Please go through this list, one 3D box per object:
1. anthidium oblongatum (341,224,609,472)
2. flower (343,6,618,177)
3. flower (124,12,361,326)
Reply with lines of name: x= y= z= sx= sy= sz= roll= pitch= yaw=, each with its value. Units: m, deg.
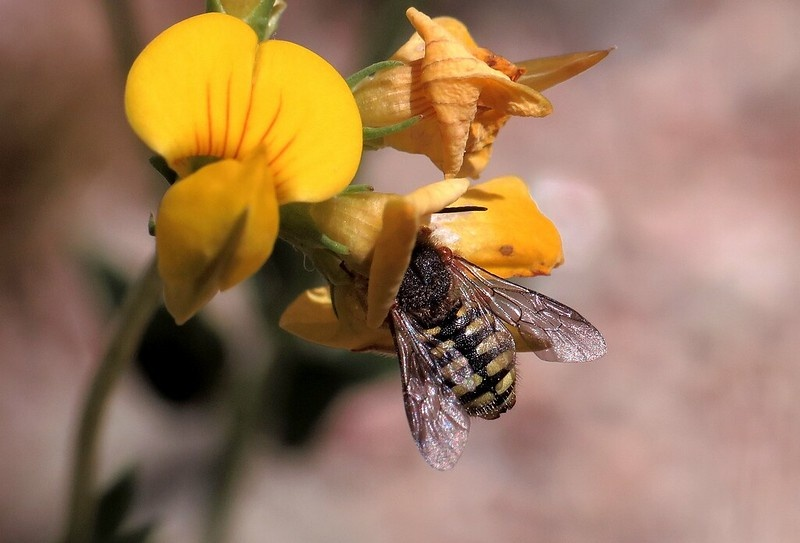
anthidium oblongatum: x=0.069 y=0.106 z=1.221 sx=0.357 sy=0.123 sz=0.293 roll=41 pitch=57 yaw=11
flower: x=0.090 y=-0.215 z=1.113 sx=0.278 sy=0.209 sz=0.200 roll=23 pitch=32 yaw=8
flower: x=-0.178 y=-0.119 z=1.003 sx=0.222 sy=0.287 sz=0.205 roll=-13 pitch=42 yaw=-39
